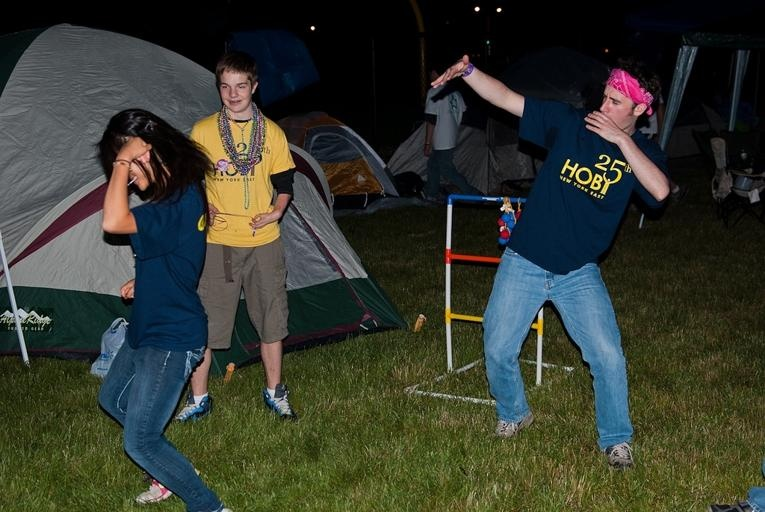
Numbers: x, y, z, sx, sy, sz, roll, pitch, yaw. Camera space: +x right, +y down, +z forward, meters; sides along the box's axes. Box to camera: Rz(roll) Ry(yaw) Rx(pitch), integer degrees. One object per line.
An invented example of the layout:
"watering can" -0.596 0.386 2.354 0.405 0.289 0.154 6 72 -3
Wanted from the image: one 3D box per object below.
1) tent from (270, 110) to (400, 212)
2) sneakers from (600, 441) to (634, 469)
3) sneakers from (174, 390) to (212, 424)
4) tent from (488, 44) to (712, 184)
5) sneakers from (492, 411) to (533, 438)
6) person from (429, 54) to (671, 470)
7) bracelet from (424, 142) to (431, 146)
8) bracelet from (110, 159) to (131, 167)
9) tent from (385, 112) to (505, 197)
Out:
"tent" -0.964 -2.220 14.042 2.488 1.156 2.470 -4 17 -15
"sneakers" 1.862 1.574 4.766 0.109 0.121 0.281 -12 -9 7
"sneakers" -1.695 1.357 5.549 0.402 0.174 0.140 -21 18 -36
"tent" 3.794 -3.641 13.679 4.361 2.030 4.440 2 6 6
"sneakers" 1.132 1.441 5.282 0.405 0.173 0.136 -21 32 -21
"person" 1.412 0.119 4.852 1.435 2.854 1.053 8 26 22
"bracelet" 0.972 -2.394 13.080 0.067 0.070 0.078 11 5 24
"bracelet" -1.664 -0.586 3.852 0.071 0.034 0.085 -2 -7 -12
"tent" 1.457 -2.591 16.040 2.897 1.313 3.359 0 3 -4
